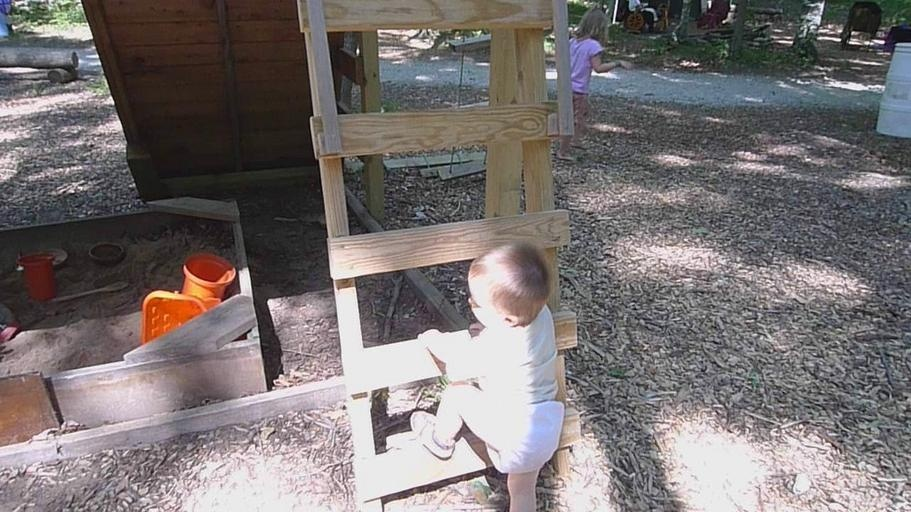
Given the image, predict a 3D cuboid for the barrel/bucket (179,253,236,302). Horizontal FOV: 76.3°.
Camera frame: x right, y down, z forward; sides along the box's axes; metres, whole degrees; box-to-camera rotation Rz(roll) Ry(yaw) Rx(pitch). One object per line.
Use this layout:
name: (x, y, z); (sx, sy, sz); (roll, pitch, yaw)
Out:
barrel/bucket: (-2.424, 0.241, 5.691); (0.426, 0.290, 0.409); (17, 31, -11)

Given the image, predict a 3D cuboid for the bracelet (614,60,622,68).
bracelet: (2.290, -2.725, 8.195); (0.124, 0.102, 0.040); (-1, 0, 11)

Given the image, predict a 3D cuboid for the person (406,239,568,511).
person: (0.299, 0.925, 4.528); (1.162, 1.968, 0.920); (14, 34, 25)

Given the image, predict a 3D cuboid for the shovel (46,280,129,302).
shovel: (-3.719, 0.368, 5.927); (0.712, 0.090, 0.125); (-9, 30, -15)
